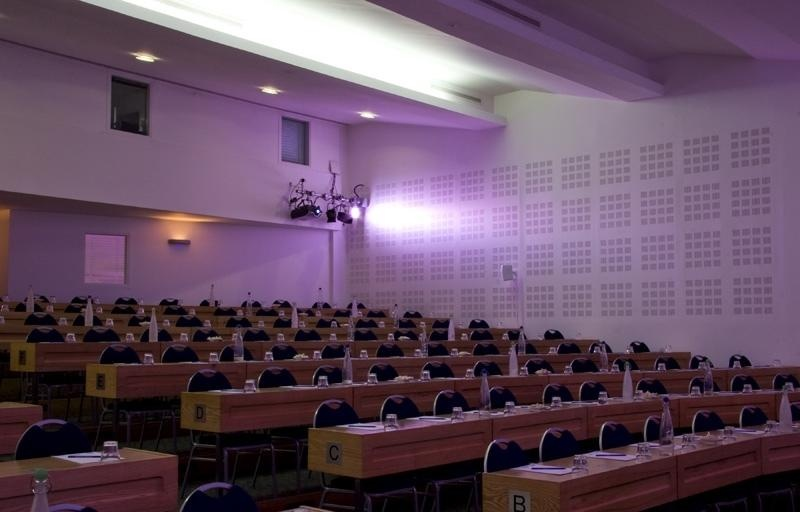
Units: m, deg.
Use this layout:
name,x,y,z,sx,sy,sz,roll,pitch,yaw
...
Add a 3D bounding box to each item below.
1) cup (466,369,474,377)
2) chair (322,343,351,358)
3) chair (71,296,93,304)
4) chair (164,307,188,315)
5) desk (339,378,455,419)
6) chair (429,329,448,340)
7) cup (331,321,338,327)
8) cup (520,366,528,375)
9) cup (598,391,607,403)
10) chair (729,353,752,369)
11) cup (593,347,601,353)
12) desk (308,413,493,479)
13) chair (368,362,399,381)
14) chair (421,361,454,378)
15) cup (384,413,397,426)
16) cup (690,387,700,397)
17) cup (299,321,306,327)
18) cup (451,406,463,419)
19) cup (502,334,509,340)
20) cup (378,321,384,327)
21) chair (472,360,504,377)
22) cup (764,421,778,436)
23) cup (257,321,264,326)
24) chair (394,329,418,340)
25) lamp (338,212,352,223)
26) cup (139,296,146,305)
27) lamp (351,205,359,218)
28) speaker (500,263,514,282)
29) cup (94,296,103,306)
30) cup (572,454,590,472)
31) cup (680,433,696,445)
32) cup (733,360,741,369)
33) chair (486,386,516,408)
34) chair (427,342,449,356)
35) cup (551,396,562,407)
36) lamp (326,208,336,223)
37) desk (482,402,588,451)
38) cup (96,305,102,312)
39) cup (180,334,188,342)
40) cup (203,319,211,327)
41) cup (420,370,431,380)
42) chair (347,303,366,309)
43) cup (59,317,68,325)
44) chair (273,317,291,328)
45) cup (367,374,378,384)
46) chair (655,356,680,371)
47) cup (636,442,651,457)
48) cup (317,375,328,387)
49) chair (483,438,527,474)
name,x,y,z,sx,sy,sz,roll,pitch,yaw
cup,0.948,1.603,7.770,0.108,0.050,0.158,-1,-7,0
chair,-1.028,1.435,8.442,0.446,0.216,0.611,1,-9,-5
chair,-6.795,0.918,11.938,0.290,0.129,0.405,0,-9,-6
chair,-4.637,1.089,11.587,0.341,0.156,0.478,-5,-7,29
desk,0.101,1.645,6.989,1.349,0.261,0.249,-3,-4,-10
chair,0.772,1.593,11.482,0.467,0.183,0.329,0,-6,-19
cup,-1.371,1.375,11.552,0.151,0.140,0.118,1,-14,-6
cup,1.766,1.634,8.062,0.146,0.133,0.144,1,-7,0
cup,2.345,1.615,6.480,0.112,0.109,0.116,0,-3,0
chair,6.248,1.930,10.348,0.571,0.199,0.411,0,-2,24
cup,3.878,1.849,11.187,0.103,0.100,0.187,2,-11,9
desk,0.026,1.722,5.190,1.681,0.416,0.499,1,-7,-29
chair,-0.233,1.530,7.485,0.249,0.323,0.249,3,-18,-18
chair,0.510,1.556,7.759,0.265,0.331,0.294,3,-14,-25
cup,-0.078,1.490,5.197,0.123,0.126,0.119,0,-3,0
cup,3.782,1.709,7.152,0.139,0.125,0.137,0,-6,0
cup,-1.985,1.356,11.305,0.153,0.144,0.150,0,-2,0
cup,0.558,1.536,5.541,0.145,0.135,0.142,0,-5,0
cup,2.297,1.747,12.293,0.140,0.137,0.242,-2,11,10
cup,-0.448,1.598,13.314,0.141,0.133,0.107,0,0,35
chair,1.284,1.657,8.258,0.484,0.242,0.678,1,-12,1
cup,3.622,1.663,5.472,0.131,0.118,0.118,1,-3,-18
cup,-2.729,1.296,10.893,0.117,0.091,0.115,-1,-7,0
chair,0.074,1.568,11.387,0.422,0.143,0.213,5,-6,-27
lamp,-1.788,-1.242,17.878,0.450,0.300,0.734,-2,-6,-4
cup,-6.814,1.138,14.743,0.155,0.252,0.143,-3,-23,-1
lamp,-1.461,-1.426,17.998,0.333,0.371,0.573,-2,-6,-1
speaker,2.972,0.430,15.531,0.368,0.471,0.409,-3,-6,10
cup,-7.334,1.052,13.550,0.180,0.297,0.174,0,4,0
cup,1.325,1.496,4.125,0.121,0.112,0.121,0,-6,0
cup,2.561,1.620,4.994,0.120,0.053,0.091,1,-1,6
cup,6.127,1.962,10.223,0.145,0.187,0.202,2,-2,30
chair,1.152,1.598,6.520,0.293,0.321,0.256,3,-3,-39
chair,0.609,1.582,9.655,0.243,0.156,0.238,0,-7,-5
cup,1.722,1.600,6.267,0.145,0.134,0.145,0,-6,0
lamp,-2.167,-1.294,17.597,0.274,0.426,0.428,-4,-6,15
desk,1.439,1.787,5.966,1.442,0.309,0.260,4,-3,-33
cup,-6.108,1.047,11.327,0.100,0.127,0.098,-1,-5,0
cup,-3.388,1.257,8.738,0.138,0.130,0.104,1,2,9
cup,-3.711,1.264,10.706,0.108,0.097,0.105,-1,-2,0
cup,0.306,1.515,7.198,0.105,0.139,0.103,0,-8,0
chair,-1.292,1.405,16.118,0.155,0.149,0.390,3,4,-42
cup,-5.775,1.097,9.570,0.075,0.079,0.085,-1,-5,-7
chair,-2.361,1.314,11.155,0.227,0.206,0.220,5,-12,-28
cup,-0.350,1.484,6.869,0.116,0.145,0.115,0,-6,0
chair,4.642,1.865,9.785,0.416,0.208,0.590,0,-3,21
cup,1.959,1.550,4.531,0.113,0.061,0.143,-2,-2,1
cup,-0.904,1.438,6.518,0.117,0.107,0.115,0,-4,0
chair,0.806,1.602,4.552,0.254,0.402,0.285,6,-19,-23
